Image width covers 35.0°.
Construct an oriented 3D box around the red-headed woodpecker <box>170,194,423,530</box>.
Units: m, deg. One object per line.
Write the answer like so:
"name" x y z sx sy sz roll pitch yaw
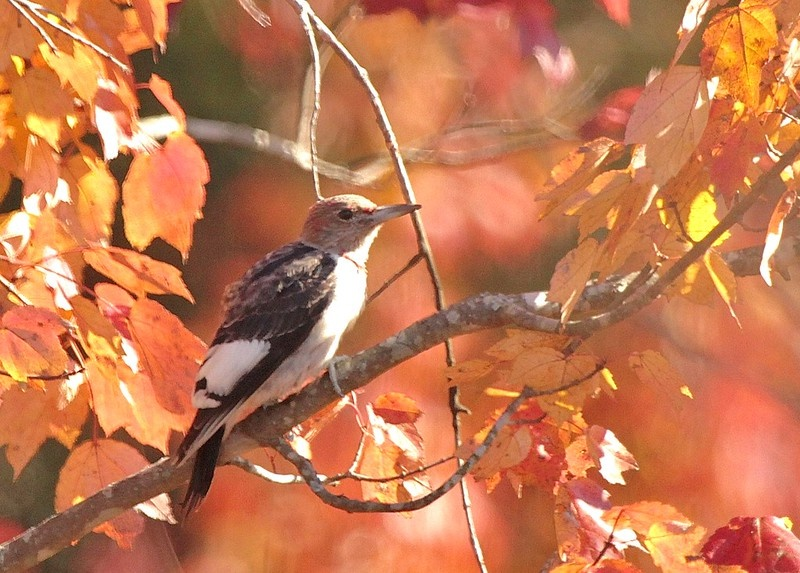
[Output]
"red-headed woodpecker" -0.338 0.186 5.809 0.935 1.286 1.664 2 -85 -14
